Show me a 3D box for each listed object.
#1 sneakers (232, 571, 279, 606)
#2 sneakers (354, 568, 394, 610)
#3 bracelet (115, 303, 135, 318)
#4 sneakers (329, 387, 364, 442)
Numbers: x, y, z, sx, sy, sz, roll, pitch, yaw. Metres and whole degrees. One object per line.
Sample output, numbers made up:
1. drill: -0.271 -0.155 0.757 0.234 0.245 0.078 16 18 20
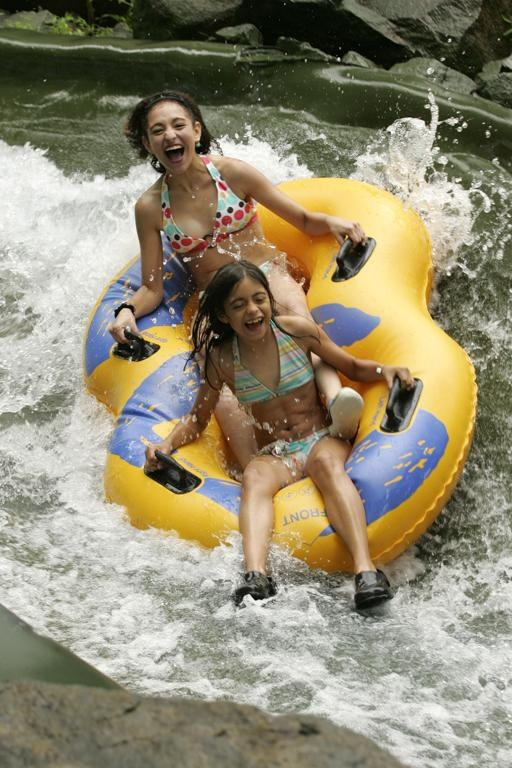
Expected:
1. sneakers: 0.005 0.651 2.481 0.144 0.093 0.107 5 11 -13
2. sneakers: 0.359 0.643 2.411 0.078 0.064 0.161 -21 -7 0
3. bracelet: -0.577 -0.329 3.432 0.071 0.021 0.070 -38 54 -15
4. sneakers: 0.333 0.107 2.873 0.118 0.191 0.077 2 37 -13
